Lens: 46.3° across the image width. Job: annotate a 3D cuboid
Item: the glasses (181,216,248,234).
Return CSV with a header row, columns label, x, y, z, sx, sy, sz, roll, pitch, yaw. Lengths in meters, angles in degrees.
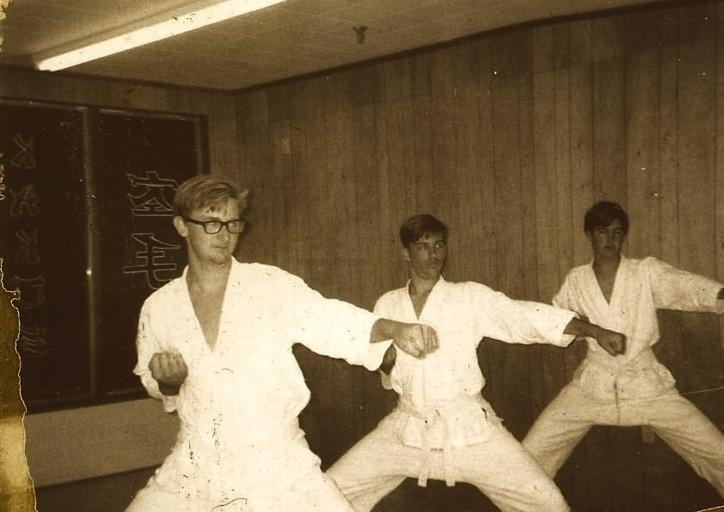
label,x,y,z,sx,sy,sz,roll,pitch,yaw
glasses,-0.584,-0.122,3.356,0.243,0.071,0.046,-2,4,-28
